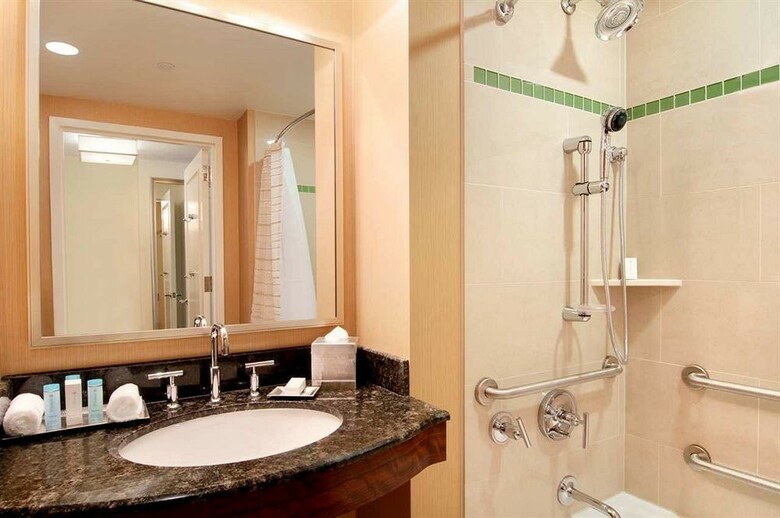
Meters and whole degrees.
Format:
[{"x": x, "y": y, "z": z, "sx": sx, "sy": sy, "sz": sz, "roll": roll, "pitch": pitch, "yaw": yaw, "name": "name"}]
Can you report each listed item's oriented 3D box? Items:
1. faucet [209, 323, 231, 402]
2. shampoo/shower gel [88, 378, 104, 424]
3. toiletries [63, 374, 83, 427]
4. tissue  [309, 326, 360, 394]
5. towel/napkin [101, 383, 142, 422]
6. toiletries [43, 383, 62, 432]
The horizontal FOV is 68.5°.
[{"x": -0.689, "y": 0.414, "z": 2.303, "sx": 0.083, "sy": 0.304, "sz": 0.238, "roll": -3, "pitch": 1, "yaw": -18, "name": "faucet"}, {"x": -1.097, "y": 0.521, "z": 2.130, "sx": 0.055, "sy": 0.174, "sz": 0.142, "roll": -3, "pitch": 1, "yaw": -28, "name": "shampoo/shower gel"}, {"x": -1.158, "y": 0.516, "z": 2.088, "sx": 0.054, "sy": 0.198, "sz": 0.090, "roll": -3, "pitch": 1, "yaw": -31, "name": "toiletries"}, {"x": -0.260, "y": 0.464, "z": 2.421, "sx": 0.202, "sy": 0.256, "sz": 0.152, "roll": 3, "pitch": -23, "yaw": -21, "name": "tissue "}, {"x": -0.999, "y": 0.535, "z": 2.120, "sx": 0.142, "sy": 0.068, "sz": 0.191, "roll": 0, "pitch": 1, "yaw": -29, "name": "towel/napkin"}, {"x": -1.205, "y": 0.529, "z": 2.038, "sx": 0.050, "sy": 0.182, "sz": 0.039, "roll": -4, "pitch": 1, "yaw": -35, "name": "toiletries"}]
